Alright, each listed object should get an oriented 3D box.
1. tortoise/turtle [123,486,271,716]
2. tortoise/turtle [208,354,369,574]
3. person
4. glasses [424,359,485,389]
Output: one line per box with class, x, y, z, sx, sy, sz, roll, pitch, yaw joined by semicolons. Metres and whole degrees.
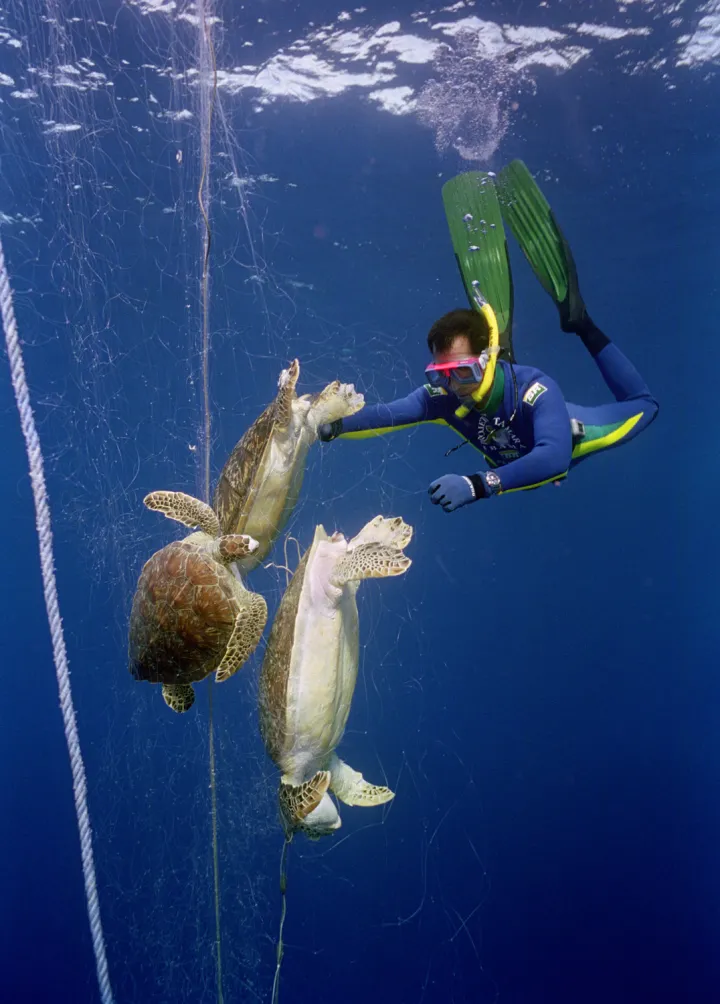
tortoise/turtle;-0.580;0.376;3.902;0.516;0.838;0.424;4;15;42
tortoise/turtle;-0.312;-0.167;4.134;0.563;0.739;0.505;-5;13;-12
person;0.531;-0.714;4.329;0.761;1.296;1.156;4;15;43
glasses;0.354;-0.510;4.289;0.259;0.119;0.136;4;15;44
